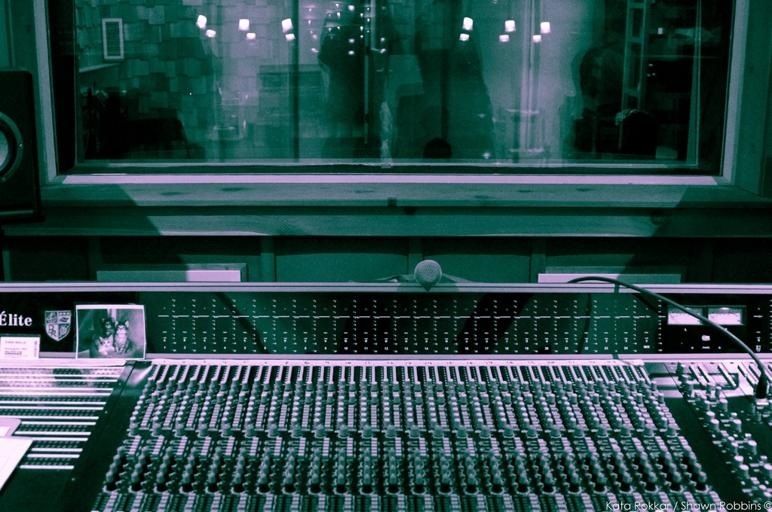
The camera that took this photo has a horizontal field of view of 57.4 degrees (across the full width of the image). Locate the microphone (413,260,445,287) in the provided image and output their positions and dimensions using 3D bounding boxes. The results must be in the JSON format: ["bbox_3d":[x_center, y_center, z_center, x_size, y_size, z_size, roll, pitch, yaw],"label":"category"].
[{"bbox_3d":[0.120,0.047,2.122,0.080,0.077,0.136,-1,10,2],"label":"microphone"}]
